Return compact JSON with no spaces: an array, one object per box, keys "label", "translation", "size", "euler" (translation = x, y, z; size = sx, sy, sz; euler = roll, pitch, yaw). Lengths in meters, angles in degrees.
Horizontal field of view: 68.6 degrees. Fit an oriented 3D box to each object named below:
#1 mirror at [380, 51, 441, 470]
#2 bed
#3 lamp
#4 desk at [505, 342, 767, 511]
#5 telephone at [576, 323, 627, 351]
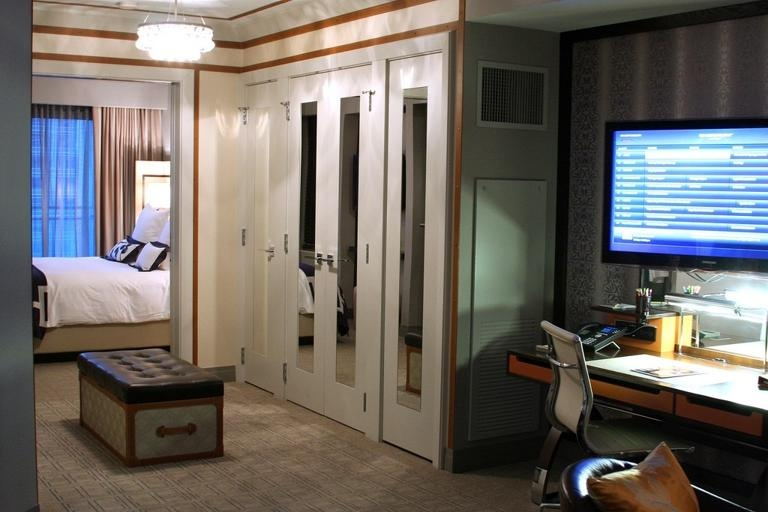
[{"label":"mirror","translation":[0.224,0.003,4.340],"size":[0.194,3.071,0.796],"euler":[-2,7,-33]},{"label":"bed","translation":[-3.458,0.634,6.926],"size":[1.435,0.950,1.302],"euler":[-2,7,-31]},{"label":"lamp","translation":[-1.673,-1.732,4.518],"size":[0.588,0.236,0.399],"euler":[1,6,-9]},{"label":"desk","translation":[1.582,0.982,3.480],"size":[0.806,0.702,1.555],"euler":[-2,7,-33]},{"label":"telephone","translation":[1.418,0.527,3.700],"size":[0.217,0.073,0.223],"euler":[-12,15,-17]}]
